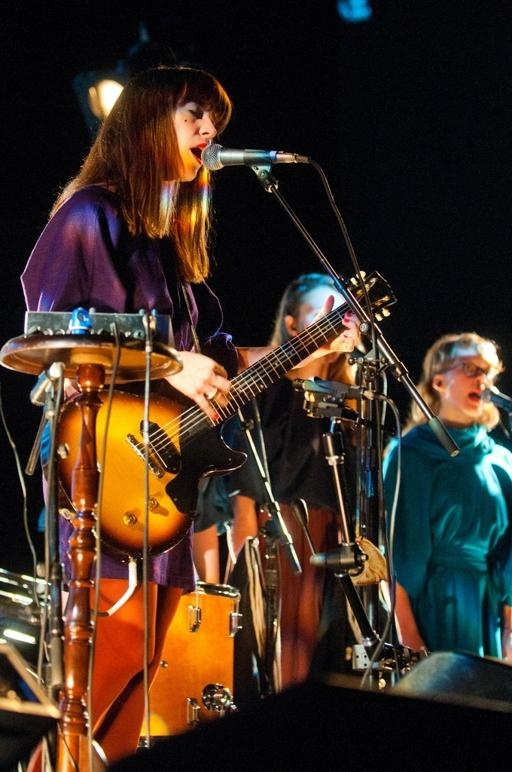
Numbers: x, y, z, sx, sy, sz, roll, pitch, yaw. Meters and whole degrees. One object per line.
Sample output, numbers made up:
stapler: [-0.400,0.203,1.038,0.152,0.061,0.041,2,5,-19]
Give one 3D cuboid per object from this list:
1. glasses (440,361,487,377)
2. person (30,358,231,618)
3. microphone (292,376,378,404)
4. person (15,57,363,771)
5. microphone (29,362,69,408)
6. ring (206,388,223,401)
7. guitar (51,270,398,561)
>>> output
glasses: [0.880,-0.066,4.393,0.104,0.026,0.094,9,-22,-23]
person: [-0.237,0.239,2.731,0.391,0.646,0.103,2,-8,-34]
microphone: [0.217,0.010,2.797,0.233,0.067,0.105,-2,-10,-14]
person: [-0.251,0.075,3.159,0.656,1.934,0.801,-19,32,-41]
microphone: [-0.441,-0.004,2.305,0.053,0.030,0.096,24,-29,-11]
ring: [-0.105,0.022,2.749,0.029,0.024,0.008,2,12,-40]
guitar: [-0.082,0.081,2.941,1.215,0.428,0.140,-34,4,-35]
